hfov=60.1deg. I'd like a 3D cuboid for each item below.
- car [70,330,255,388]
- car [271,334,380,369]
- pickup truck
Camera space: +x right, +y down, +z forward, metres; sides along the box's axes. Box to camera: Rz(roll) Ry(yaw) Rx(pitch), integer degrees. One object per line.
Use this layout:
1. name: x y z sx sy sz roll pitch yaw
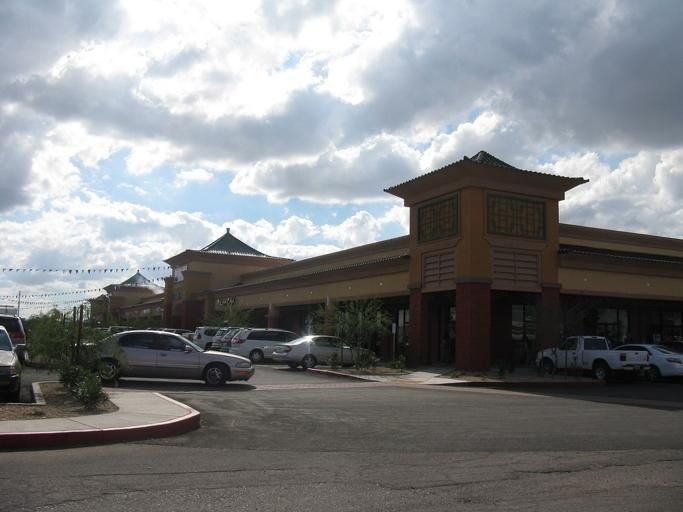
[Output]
1. car: -5.595 3.303 19.366 4.722 1.833 3.528 8 -14 -34
2. car: -1.081 4.524 27.965 4.218 1.639 2.893 1 -11 -4
3. pickup truck: 10.718 4.352 25.395 2.037 1.486 3.625 8 -8 -39
